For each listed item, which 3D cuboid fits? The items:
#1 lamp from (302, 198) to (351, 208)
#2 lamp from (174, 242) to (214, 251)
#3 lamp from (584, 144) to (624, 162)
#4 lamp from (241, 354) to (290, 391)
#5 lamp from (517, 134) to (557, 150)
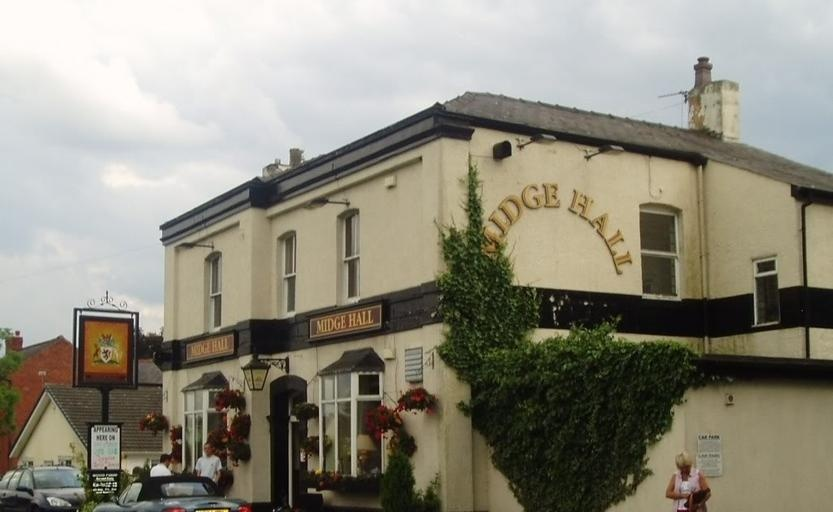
[{"bbox_3d":[-2.930,-1.775,56.048,0.836,0.264,0.647,1,-6,-30],"label":"lamp"},{"bbox_3d":[-8.043,-0.383,62.309,0.955,0.262,0.524,3,-5,-30],"label":"lamp"},{"bbox_3d":[6.164,-3.459,54.949,0.714,0.480,1.537,1,-7,-27],"label":"lamp"},{"bbox_3d":[-5.250,3.980,57.754,1.432,1.240,2.017,-5,-7,26],"label":"lamp"},{"bbox_3d":[3.954,-3.701,54.290,0.806,0.413,1.302,2,-8,-36],"label":"lamp"}]
